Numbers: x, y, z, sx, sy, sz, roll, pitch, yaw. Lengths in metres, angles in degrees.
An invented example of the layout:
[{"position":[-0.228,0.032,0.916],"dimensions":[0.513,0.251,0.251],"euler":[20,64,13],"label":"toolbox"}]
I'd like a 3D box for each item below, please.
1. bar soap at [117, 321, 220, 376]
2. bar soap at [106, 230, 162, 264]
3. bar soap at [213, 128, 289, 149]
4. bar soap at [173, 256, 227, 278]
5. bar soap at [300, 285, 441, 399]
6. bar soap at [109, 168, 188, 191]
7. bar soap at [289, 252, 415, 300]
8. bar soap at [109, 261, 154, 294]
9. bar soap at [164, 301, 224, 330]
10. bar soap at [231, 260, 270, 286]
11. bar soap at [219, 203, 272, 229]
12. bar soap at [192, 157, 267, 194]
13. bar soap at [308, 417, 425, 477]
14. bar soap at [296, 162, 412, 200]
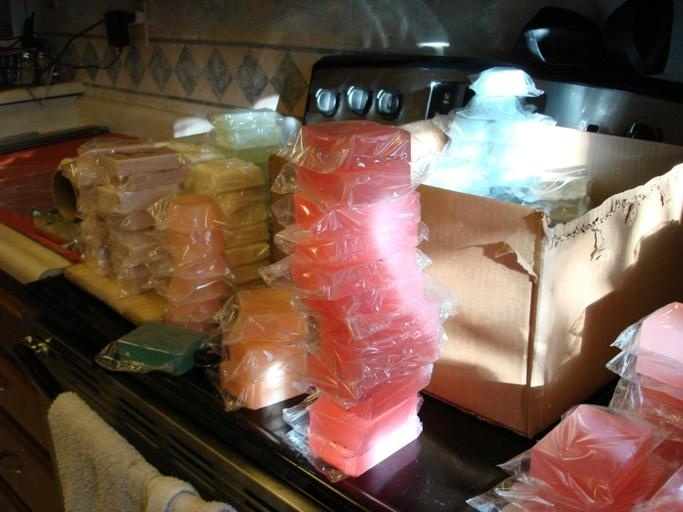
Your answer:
[{"position":[-0.286,0.144,0.918],"dimensions":[0.128,0.078,0.120],"euler":[17,28,34],"label":"bar soap"},{"position":[-0.390,-0.035,1.005],"dimensions":[0.130,0.066,0.034],"euler":[11,24,22],"label":"bar soap"},{"position":[-0.198,-0.282,1.177],"dimensions":[0.156,0.038,0.096],"euler":[-4,24,-12],"label":"bar soap"},{"position":[-0.239,0.013,0.917],"dimensions":[0.091,0.041,0.023],"euler":[-9,24,-22],"label":"bar soap"},{"position":[0.040,0.098,0.635],"dimensions":[0.161,0.131,0.073],"euler":[-1,22,-4],"label":"bar soap"},{"position":[-0.342,-0.156,0.982],"dimensions":[0.065,0.019,0.073],"euler":[-14,18,-30],"label":"bar soap"},{"position":[0.017,0.018,0.625],"dimensions":[0.142,0.063,0.048],"euler":[-1,13,3],"label":"bar soap"},{"position":[-0.405,0.021,1.013],"dimensions":[0.056,0.069,0.022],"euler":[-26,25,-12],"label":"bar soap"},{"position":[-0.253,0.091,0.948],"dimensions":[0.078,0.057,0.082],"euler":[18,26,37],"label":"bar soap"},{"position":[-0.172,0.015,1.012],"dimensions":[0.078,0.052,0.019],"euler":[-27,33,-32],"label":"bar soap"},{"position":[-0.172,-0.086,0.975],"dimensions":[0.053,0.015,0.052],"euler":[4,-21,-29],"label":"bar soap"},{"position":[-0.208,-0.164,0.978],"dimensions":[0.078,0.044,0.090],"euler":[4,16,20],"label":"bar soap"},{"position":[0.034,0.227,0.697],"dimensions":[0.072,0.031,0.099],"euler":[11,20,42],"label":"bar soap"},{"position":[0.013,-0.093,0.595],"dimensions":[0.127,0.044,0.037],"euler":[2,22,3],"label":"bar soap"}]
